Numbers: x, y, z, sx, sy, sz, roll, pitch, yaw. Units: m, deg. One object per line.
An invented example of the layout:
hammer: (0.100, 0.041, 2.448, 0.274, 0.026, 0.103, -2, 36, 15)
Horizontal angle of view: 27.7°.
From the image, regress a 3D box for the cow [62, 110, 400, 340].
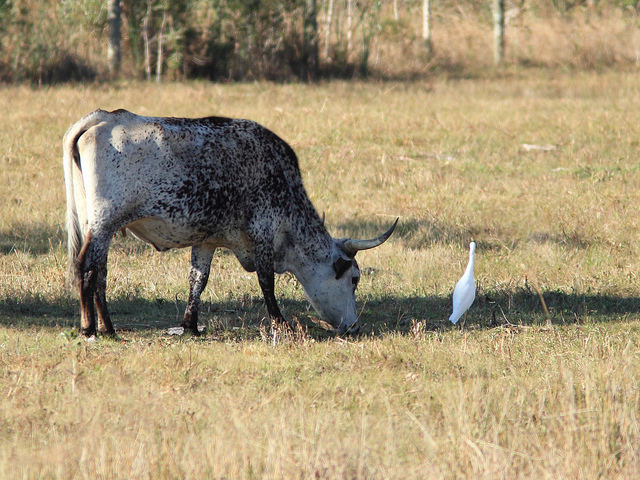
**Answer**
cow: (-1.108, -0.354, 24.385, 8.144, 6.059, 2.506, 4, -2, -34)

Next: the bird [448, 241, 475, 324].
bird: (2.408, 0.807, 21.934, 0.478, 1.361, 0.527, 4, 13, 14)
